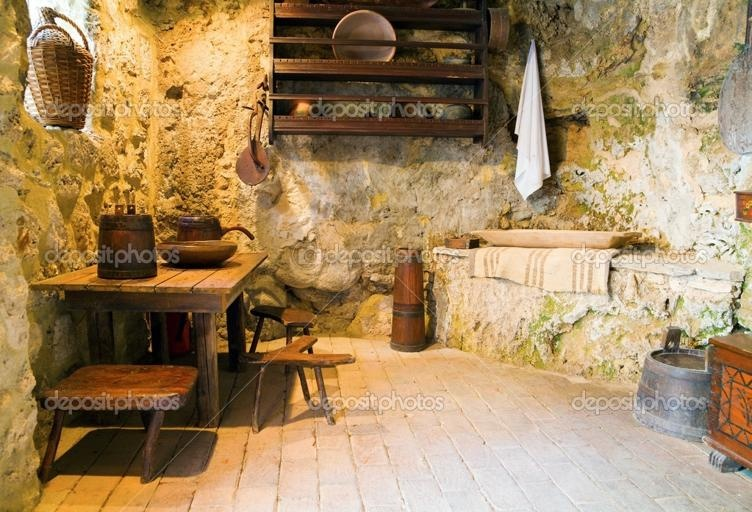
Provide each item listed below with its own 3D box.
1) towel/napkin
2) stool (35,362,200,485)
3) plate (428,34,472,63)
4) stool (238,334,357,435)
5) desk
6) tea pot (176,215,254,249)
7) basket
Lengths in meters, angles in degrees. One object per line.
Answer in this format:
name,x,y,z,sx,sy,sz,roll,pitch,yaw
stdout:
towel/napkin,1.656,-1.437,5.328,0.357,1.643,0.317,4,7,32
stool,-1.615,1.035,3.322,0.822,0.426,0.785,0,4,-3
plate,0.794,-2.158,5.424,0.417,0.327,0.113,2,8,7
stool,-0.614,0.842,3.988,0.665,0.542,0.844,-3,4,-14
desk,-1.572,0.810,3.962,1.111,0.807,1.656,0,8,1
tea pot,-1.432,-0.213,4.499,0.541,0.292,0.306,4,2,-7
basket,-2.168,-1.217,3.511,0.383,0.663,0.257,-4,7,-33
